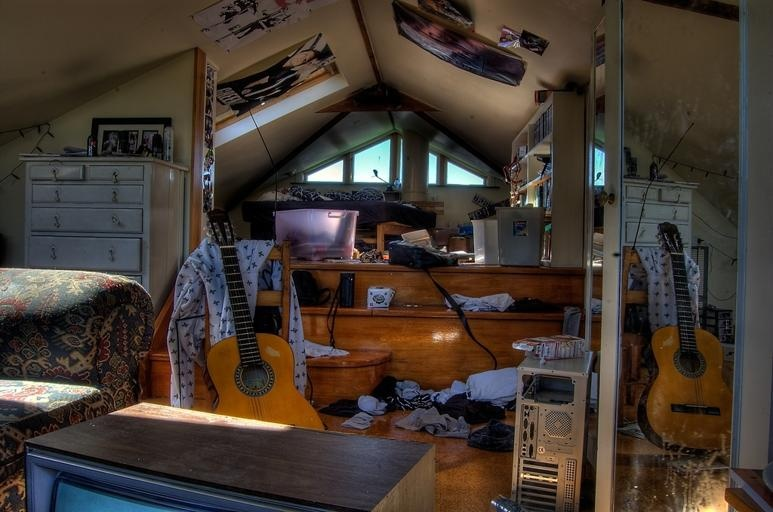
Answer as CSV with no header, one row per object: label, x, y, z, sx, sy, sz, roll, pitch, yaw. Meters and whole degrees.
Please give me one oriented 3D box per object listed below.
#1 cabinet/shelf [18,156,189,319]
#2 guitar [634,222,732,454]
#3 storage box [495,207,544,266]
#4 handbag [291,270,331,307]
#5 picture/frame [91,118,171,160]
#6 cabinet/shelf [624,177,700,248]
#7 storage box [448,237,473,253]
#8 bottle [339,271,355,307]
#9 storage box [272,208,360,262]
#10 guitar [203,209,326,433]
cabinet/shelf,-1.948,-0.020,3.727,0.757,1.050,0.608,-3,-19,-17
guitar,1.059,0.301,1.938,0.337,0.790,0.110,12,14,34
storage box,0.921,-0.109,4.193,0.438,0.526,0.393,0,-11,3
handbag,-0.516,0.216,3.725,0.268,0.252,0.193,-1,-1,25
picture/frame,-1.737,-0.806,3.838,0.376,0.265,0.027,1,-9,2
cabinet/shelf,0.984,-0.161,1.978,0.251,0.239,0.108,1,-2,7
storage box,1.140,-0.193,8.635,0.451,0.244,0.419,4,-6,20
bottle,-0.260,0.221,3.682,0.096,0.209,0.142,2,12,-9
storage box,-0.539,-0.146,4.341,0.503,0.270,0.405,1,-6,0
guitar,-0.585,0.283,2.553,0.469,0.891,0.717,-2,13,-26
